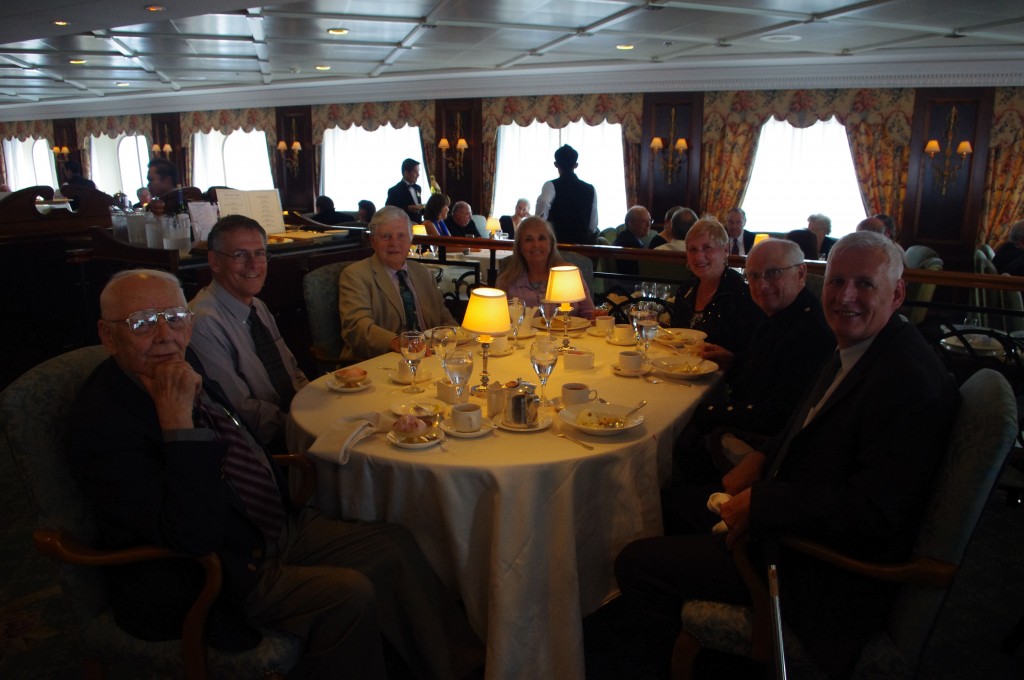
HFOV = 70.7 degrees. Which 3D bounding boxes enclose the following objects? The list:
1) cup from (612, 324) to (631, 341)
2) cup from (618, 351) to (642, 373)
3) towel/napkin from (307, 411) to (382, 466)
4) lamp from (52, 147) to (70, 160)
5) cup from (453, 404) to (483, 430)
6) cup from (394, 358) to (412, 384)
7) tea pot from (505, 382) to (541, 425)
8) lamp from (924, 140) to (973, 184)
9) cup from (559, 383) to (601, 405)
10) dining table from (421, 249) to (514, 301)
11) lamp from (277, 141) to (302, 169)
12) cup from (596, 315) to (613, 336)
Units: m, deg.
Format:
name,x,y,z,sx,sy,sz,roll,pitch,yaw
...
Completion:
name,x,y,z,sx,sy,sz,roll,pitch,yaw
cup,0.589,-0.041,3.872,0.078,0.060,0.082,-3,8,0
cup,0.558,0.105,3.392,0.106,0.084,0.082,1,3,16
towel/napkin,-0.624,0.357,2.763,0.161,0.073,0.214,5,17,25
lamp,-10.331,-4.290,16.505,0.304,0.260,0.310,-1,7,-7
cup,-0.168,0.291,2.818,0.091,0.073,0.094,3,5,0
cup,-0.496,0.153,3.268,0.077,0.081,0.106,0,-2,17
tea pot,0.042,0.261,2.855,0.163,0.165,0.097,6,8,38
lamp,5.586,-2.295,9.185,0.466,0.485,0.186,6,18,30
cup,0.281,0.222,3.070,0.132,0.092,0.087,1,5,20
dining table,-0.515,-0.667,7.136,0.659,0.237,0.940,-12,24,-30
lamp,-4.179,-3.525,13.635,0.498,0.526,0.231,0,2,0
cup,0.523,-0.081,4.081,0.082,0.074,0.108,2,16,14
